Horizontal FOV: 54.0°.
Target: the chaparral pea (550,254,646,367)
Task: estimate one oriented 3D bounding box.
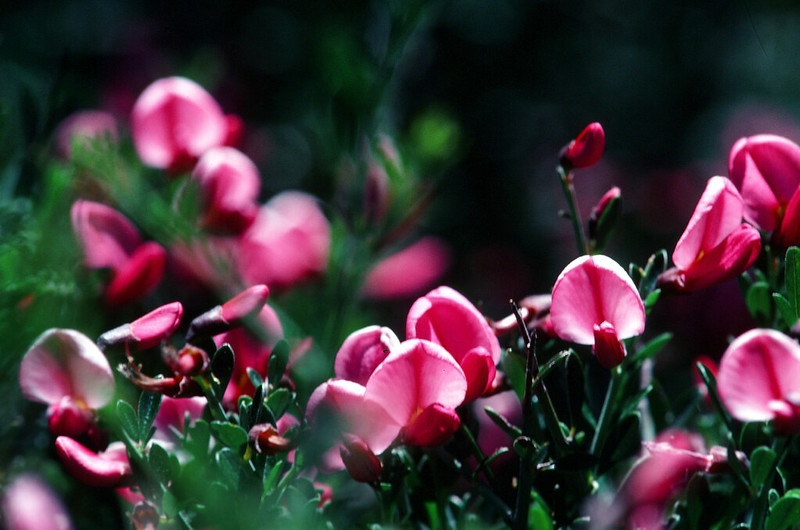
[{"bbox_3d":[0.149,0.037,0.585,0.061,0.084,0.040,-12,23,26],"label":"chaparral pea"}]
